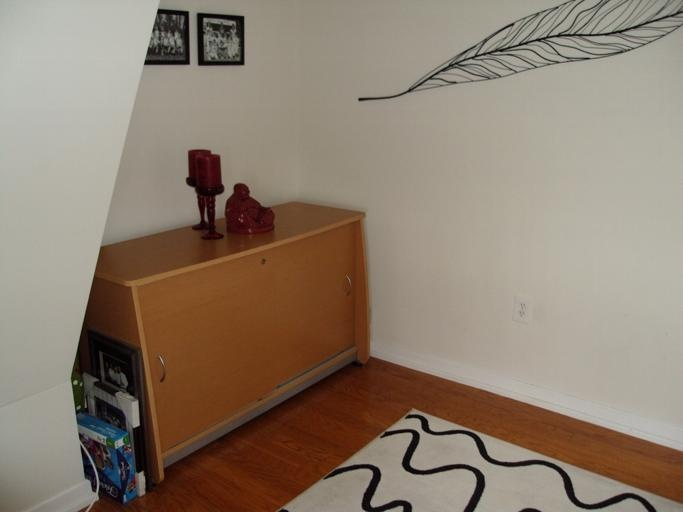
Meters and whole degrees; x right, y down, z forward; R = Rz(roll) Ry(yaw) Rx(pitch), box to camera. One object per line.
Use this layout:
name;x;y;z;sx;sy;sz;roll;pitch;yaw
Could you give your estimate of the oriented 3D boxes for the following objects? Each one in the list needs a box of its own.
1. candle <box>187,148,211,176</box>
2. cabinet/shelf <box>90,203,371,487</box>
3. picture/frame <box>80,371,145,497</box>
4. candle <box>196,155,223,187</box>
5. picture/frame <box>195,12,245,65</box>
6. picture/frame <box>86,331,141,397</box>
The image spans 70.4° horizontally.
candle;-0.662;-0.420;2.199;0.115;0.141;0.120;7;9;26
cabinet/shelf;-0.513;0.399;2.081;0.369;0.638;0.917;13;26;32
picture/frame;-0.874;0.698;1.855;0.382;0.425;0.138;11;23;40
candle;-0.594;-0.385;2.187;0.121;0.148;0.121;-19;29;-38
picture/frame;-0.611;-1.073;2.365;0.010;0.236;0.259;18;28;35
picture/frame;-0.883;0.420;1.880;0.239;0.186;0.013;15;25;37
